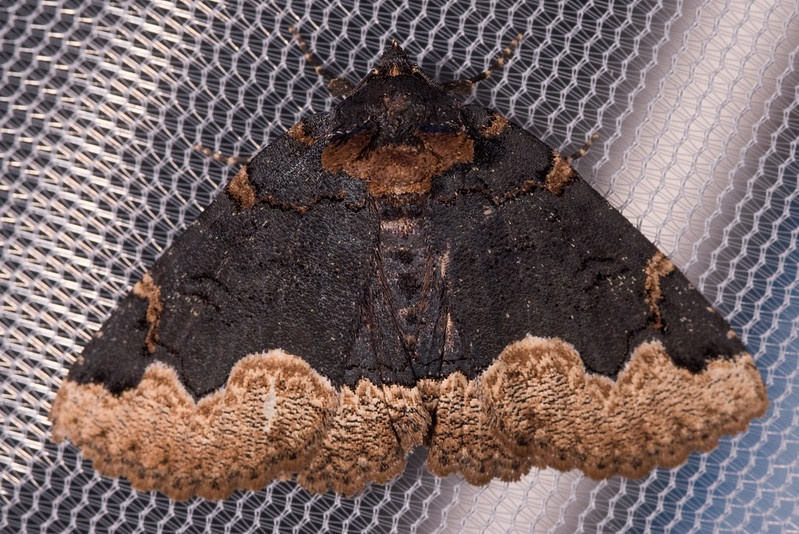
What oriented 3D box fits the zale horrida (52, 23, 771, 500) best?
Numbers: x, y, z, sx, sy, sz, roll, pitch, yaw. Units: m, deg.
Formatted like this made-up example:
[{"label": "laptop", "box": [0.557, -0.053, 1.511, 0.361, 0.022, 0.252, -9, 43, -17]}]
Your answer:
[{"label": "zale horrida", "box": [0.030, 0.024, 5.029, 2.619, 1.880, 0.413, 3, 3, -1]}]
